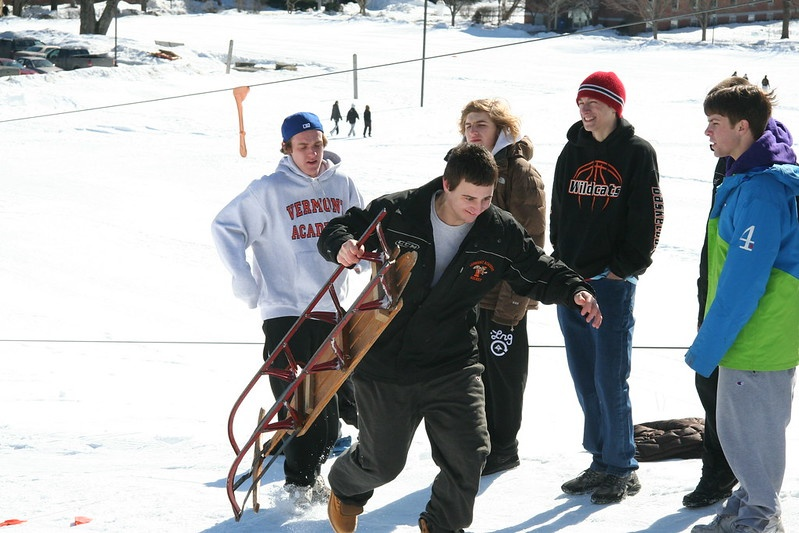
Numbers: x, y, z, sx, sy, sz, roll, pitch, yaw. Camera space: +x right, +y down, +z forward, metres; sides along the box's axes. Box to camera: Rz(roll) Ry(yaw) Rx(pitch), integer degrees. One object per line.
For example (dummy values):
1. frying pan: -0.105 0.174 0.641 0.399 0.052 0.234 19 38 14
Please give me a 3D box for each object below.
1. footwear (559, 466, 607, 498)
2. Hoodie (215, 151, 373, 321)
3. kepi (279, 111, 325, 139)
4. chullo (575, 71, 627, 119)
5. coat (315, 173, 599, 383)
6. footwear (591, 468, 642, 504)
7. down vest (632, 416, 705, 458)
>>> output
1. footwear: 2.149 2.493 14.515 0.549 0.203 0.224 -10 49 -2
2. Hoodie: -1.308 -0.382 15.184 2.371 1.951 1.355 -9 19 -42
3. kepi: -1.183 -1.664 14.913 0.350 0.296 0.410 -19 14 -7
4. chullo: 2.403 -2.015 14.730 0.592 0.464 0.568 25 8 20
5. coat: 0.555 0.306 13.971 3.149 2.021 1.611 13 12 12
6. footwear: 2.490 2.544 14.416 0.621 0.252 0.267 -16 37 -11
7. down vest: 3.229 2.056 14.960 0.624 0.192 0.554 -4 4 -6
